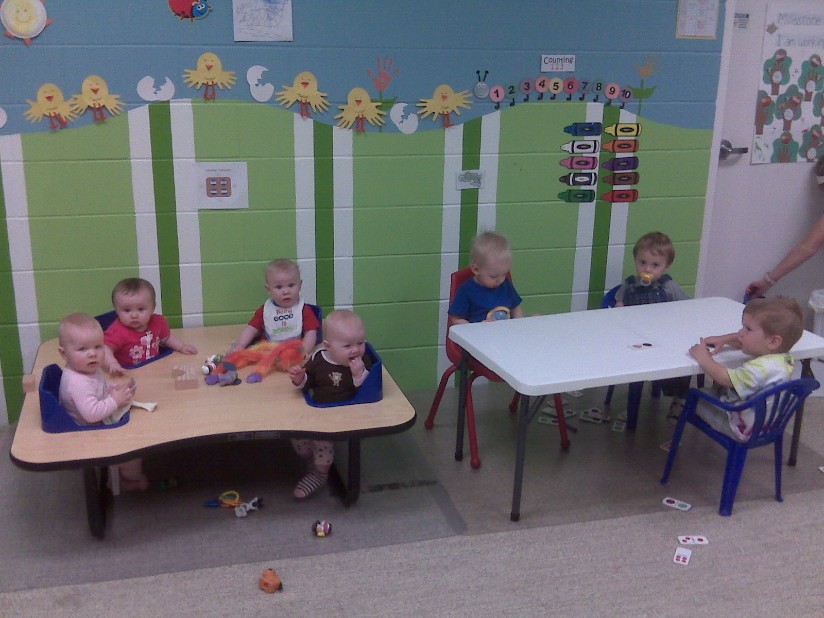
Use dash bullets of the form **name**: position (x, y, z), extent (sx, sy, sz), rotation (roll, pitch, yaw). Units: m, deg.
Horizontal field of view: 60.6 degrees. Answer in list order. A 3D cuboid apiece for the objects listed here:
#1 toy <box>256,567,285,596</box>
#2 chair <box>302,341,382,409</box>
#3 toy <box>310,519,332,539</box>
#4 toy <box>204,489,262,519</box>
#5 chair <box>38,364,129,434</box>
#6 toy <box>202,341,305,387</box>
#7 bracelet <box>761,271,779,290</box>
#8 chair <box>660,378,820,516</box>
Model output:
- **toy**: position (-0.538, 1.013, 2.651), extent (0.093, 0.066, 0.123), rotation (-10, 20, -20)
- **chair**: position (-0.280, 0.276, 2.948), extent (0.292, 0.114, 0.219), rotation (-6, 25, -15)
- **toy**: position (-0.374, 0.907, 2.884), extent (0.070, 0.061, 0.057), rotation (4, 39, 16)
- **toy**: position (-0.757, 0.843, 3.021), extent (0.144, 0.063, 0.121), rotation (-9, 29, -22)
- **chair**: position (-1.289, 0.327, 2.749), extent (0.262, 0.145, 0.326), rotation (-3, 23, -21)
- **toy**: position (-0.711, 0.244, 3.162), extent (0.347, 0.096, 0.204), rotation (-16, 14, -36)
- **bracelet**: position (2.153, -0.162, 4.211), extent (0.089, 0.053, 0.104), rotation (0, -11, 0)
- **chair**: position (1.501, 0.654, 3.192), extent (0.375, 0.536, 0.380), rotation (-11, 27, -17)
